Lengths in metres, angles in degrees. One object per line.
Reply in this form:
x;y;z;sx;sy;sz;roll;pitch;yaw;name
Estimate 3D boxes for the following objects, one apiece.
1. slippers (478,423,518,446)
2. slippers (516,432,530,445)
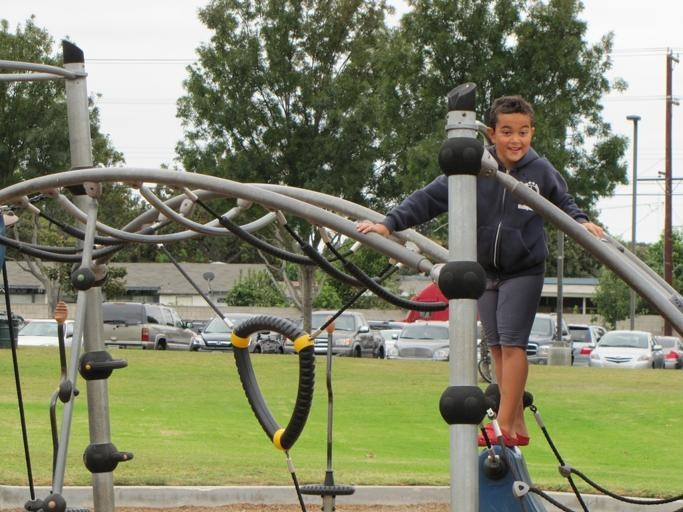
1.912;2.275;17.391;0.633;0.279;0.235;3;-9;-9;slippers
2.335;2.362;17.565;0.104;0.146;0.318;-1;-3;29;slippers
